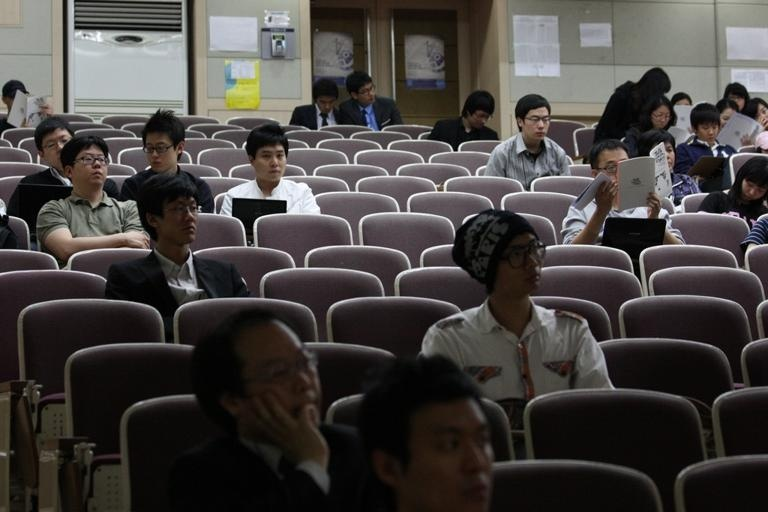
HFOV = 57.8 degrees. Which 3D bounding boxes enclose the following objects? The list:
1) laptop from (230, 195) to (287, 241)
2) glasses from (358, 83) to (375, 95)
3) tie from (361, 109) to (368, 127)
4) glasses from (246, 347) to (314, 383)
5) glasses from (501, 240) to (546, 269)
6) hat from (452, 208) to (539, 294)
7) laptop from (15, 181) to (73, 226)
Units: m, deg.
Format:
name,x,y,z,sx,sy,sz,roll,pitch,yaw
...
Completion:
name,x,y,z,sx,sy,sz,roll,pitch,yaw
laptop,-0.846,-0.299,4.762,0.372,0.262,0.276,1,4,-4
glasses,-0.211,-2.078,8.727,0.155,0.053,0.157,-1,2,11
tie,-0.258,-1.757,8.829,0.058,0.273,0.070,-12,-17,2
glasses,-0.244,0.273,1.660,0.097,0.028,0.101,-26,-4,11
glasses,0.539,-0.009,2.628,0.168,0.097,0.064,-3,7,-24
hat,0.429,-0.059,2.794,0.334,0.311,0.259,-23,1,20
laptop,-2.248,-0.384,4.673,0.363,0.360,0.280,1,8,-12
